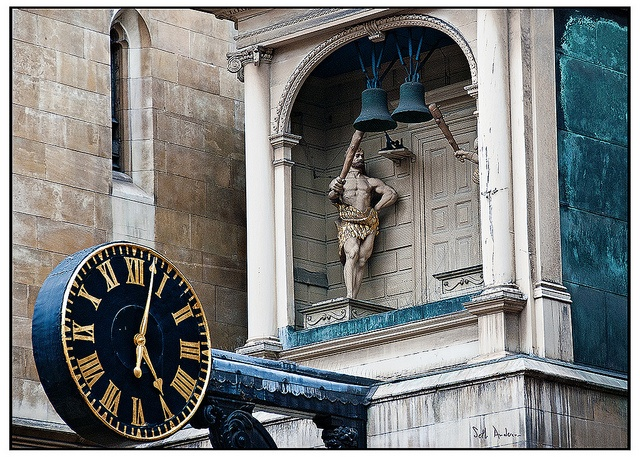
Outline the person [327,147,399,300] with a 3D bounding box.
[{"bbox_3d":[0.624,-0.130,32.307,1.059,2.585,0.584,14,-19,-42],"label":"person"}]
